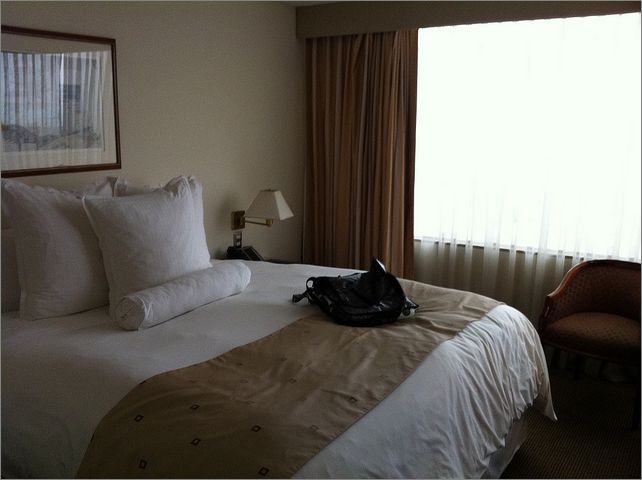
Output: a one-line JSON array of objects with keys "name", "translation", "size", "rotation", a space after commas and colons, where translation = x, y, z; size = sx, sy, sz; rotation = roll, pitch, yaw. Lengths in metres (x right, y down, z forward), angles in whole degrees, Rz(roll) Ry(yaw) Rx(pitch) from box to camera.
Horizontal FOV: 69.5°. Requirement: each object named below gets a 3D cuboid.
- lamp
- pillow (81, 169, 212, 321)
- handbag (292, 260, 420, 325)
[{"name": "lamp", "translation": [-0.535, -0.143, 4.166], "size": [0.536, 0.641, 0.718], "rotation": [5, 12, 17]}, {"name": "pillow", "translation": [-0.972, -0.015, 2.784], "size": [0.284, 0.688, 0.839], "rotation": [9, 19, 26]}, {"name": "handbag", "translation": [0.185, 0.277, 2.718], "size": [0.473, 0.220, 0.633], "rotation": [28, 23, 31]}]
